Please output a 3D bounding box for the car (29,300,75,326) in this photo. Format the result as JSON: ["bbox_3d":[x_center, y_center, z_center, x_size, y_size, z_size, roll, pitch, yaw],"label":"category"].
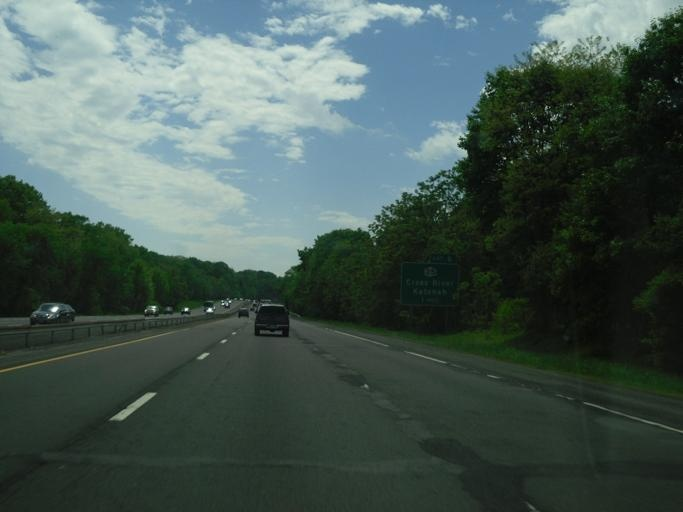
[{"bbox_3d":[-17.963,3.564,45.940,1.333,1.024,3.012,-1,-13,1],"label":"car"}]
